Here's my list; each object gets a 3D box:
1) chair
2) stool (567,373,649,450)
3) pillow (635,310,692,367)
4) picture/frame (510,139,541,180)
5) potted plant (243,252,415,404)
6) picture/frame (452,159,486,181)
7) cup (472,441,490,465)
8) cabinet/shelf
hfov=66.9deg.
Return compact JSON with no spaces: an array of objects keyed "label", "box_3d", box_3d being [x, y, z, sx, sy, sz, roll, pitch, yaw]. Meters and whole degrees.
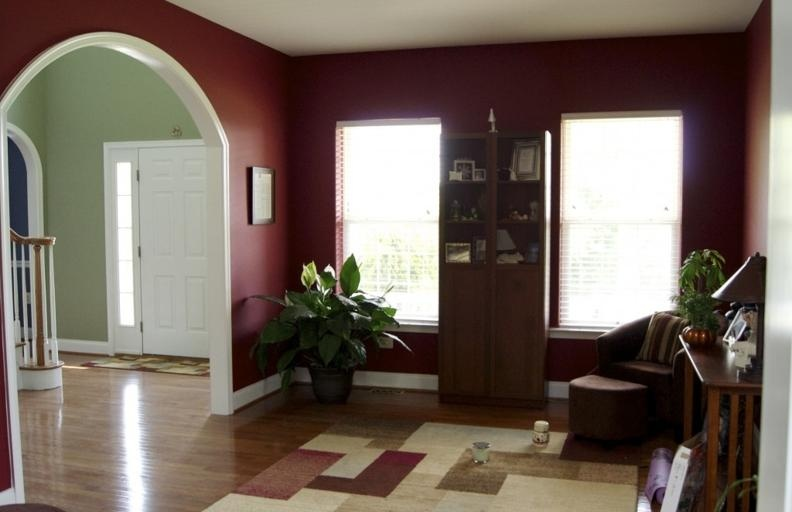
[{"label":"chair","box_3d":[2.499,1.069,5.669,1.009,0.994,1.069,5,0,37]},{"label":"stool","box_3d":[1.850,1.375,5.350,0.585,0.465,0.597,3,-4,-42]},{"label":"pillow","box_3d":[2.509,0.781,5.633,0.144,0.443,0.462,16,1,-29]},{"label":"picture/frame","box_3d":[1.289,-0.959,5.959,0.406,0.536,0.054,1,1,24]},{"label":"potted plant","box_3d":[-0.774,0.722,6.609,1.588,1.301,1.572,0,-1,0]},{"label":"picture/frame","box_3d":[0.720,-0.874,6.120,0.350,0.209,0.084,4,5,12]},{"label":"cup","box_3d":[0.682,1.606,4.916,0.149,0.150,0.143,-1,7,0]},{"label":"cabinet/shelf","box_3d":[0.977,0.117,6.143,1.130,2.670,0.320,0,0,20]}]
